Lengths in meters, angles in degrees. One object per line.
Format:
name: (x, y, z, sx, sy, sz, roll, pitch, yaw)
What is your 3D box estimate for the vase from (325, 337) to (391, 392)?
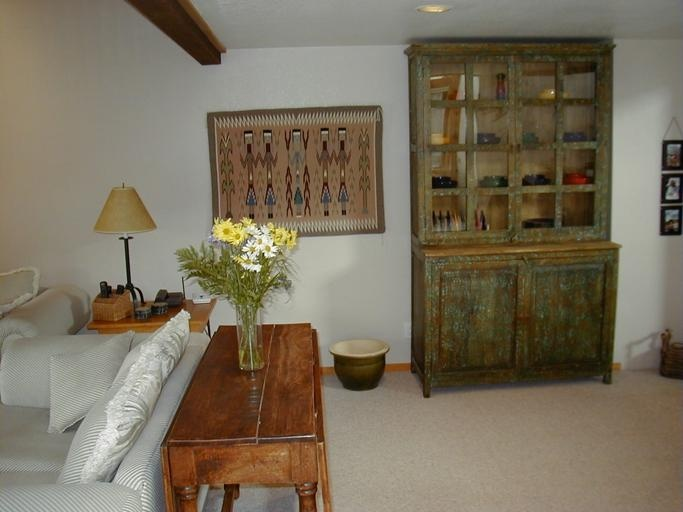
vase: (0.146, 0.871, 4.508, 0.389, 0.278, 0.418, 0, 6, 2)

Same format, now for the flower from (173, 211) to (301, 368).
flower: (-0.691, 0.184, 3.427, 0.724, 0.974, 0.820, 2, 15, 15)

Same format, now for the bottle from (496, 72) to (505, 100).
bottle: (1.257, -1.330, 4.285, 0.076, 0.196, 0.013, -1, 6, -7)

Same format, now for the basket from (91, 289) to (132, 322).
basket: (-1.702, 0.374, 4.040, 0.204, 0.224, 0.218, 0, -3, 14)

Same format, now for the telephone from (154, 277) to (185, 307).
telephone: (-1.409, 0.299, 4.431, 0.164, 0.182, 0.148, 2, 22, -2)

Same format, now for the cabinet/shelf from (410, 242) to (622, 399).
cabinet/shelf: (1.405, 0.506, 4.355, 1.036, 0.891, 0.444, -1, 6, -5)

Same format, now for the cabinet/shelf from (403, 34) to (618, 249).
cabinet/shelf: (1.352, -0.919, 4.336, 1.445, 1.635, 0.546, 0, 5, -2)

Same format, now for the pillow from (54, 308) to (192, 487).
pillow: (-1.017, 0.688, 2.641, 0.296, 0.559, 0.733, 1, 6, 13)

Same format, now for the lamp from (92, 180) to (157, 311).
lamp: (-1.666, -0.069, 4.213, 0.426, 0.961, 0.629, -3, 7, -20)
